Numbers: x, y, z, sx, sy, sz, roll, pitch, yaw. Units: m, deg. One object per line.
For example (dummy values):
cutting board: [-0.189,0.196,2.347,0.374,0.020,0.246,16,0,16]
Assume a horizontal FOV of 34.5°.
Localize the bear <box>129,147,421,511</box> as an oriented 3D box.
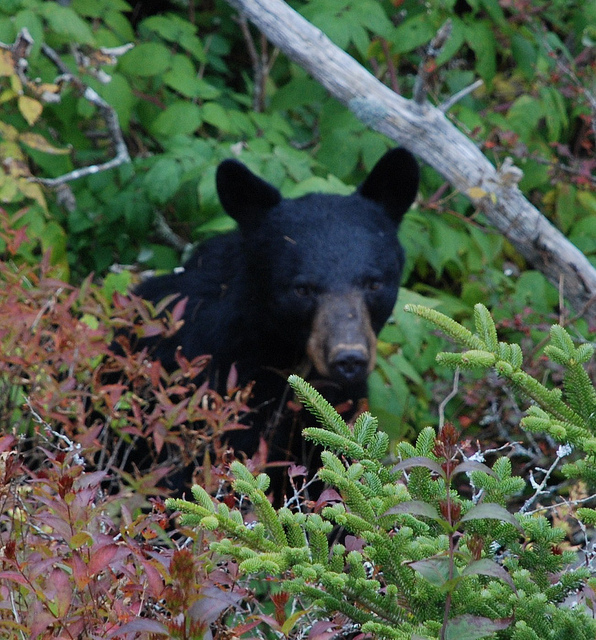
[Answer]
bear: [0.068,-0.065,3.686,0.823,1.186,1.592,-4,19,-5]
